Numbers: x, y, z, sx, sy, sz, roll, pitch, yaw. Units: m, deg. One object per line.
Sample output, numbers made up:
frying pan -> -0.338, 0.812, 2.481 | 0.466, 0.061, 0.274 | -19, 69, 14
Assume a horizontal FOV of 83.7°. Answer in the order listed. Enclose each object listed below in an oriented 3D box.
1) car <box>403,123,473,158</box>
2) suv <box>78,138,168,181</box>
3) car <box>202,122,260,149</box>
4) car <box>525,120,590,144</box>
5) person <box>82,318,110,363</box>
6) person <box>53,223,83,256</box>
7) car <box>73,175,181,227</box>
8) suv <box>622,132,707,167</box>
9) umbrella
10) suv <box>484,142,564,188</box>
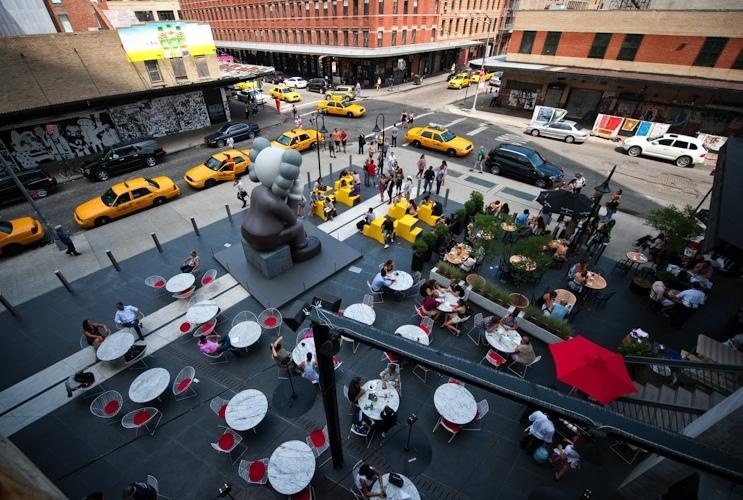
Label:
car -> 5.379, -9.342, 33.923 | 5.497, 1.635, 2.633 | 20, 49, 21
suv -> -18.206, -6.641, 30.959 | 6.137, 2.175, 2.369 | -23, 53, -29
car -> -11.624, -10.331, 35.597 | 5.110, 1.572, 1.969 | -25, 52, -25
car -> 16.960, -10.627, 37.642 | 5.614, 1.664, 2.301 | 15, 43, 18
person -> -12.900, 4.031, 19.464 | 1.116, 1.835, 0.792 | -20, 40, -39
person -> -17.430, -0.550, 23.881 | 0.732, 1.969, 0.787 | 41, 57, -10
car -> -15.424, -2.961, 26.918 | 6.311, 1.988, 2.833 | -27, 58, -24
suv -> 23.529, -8.278, 33.893 | 5.898, 2.038, 2.661 | 15, 44, 23
umbrella -> 9.052, 4.861, 17.131 | 3.369, 1.549, 3.317 | -1, 39, -14
suv -> 10.962, -5.936, 30.381 | 6.439, 2.275, 2.708 | 17, 53, 25
